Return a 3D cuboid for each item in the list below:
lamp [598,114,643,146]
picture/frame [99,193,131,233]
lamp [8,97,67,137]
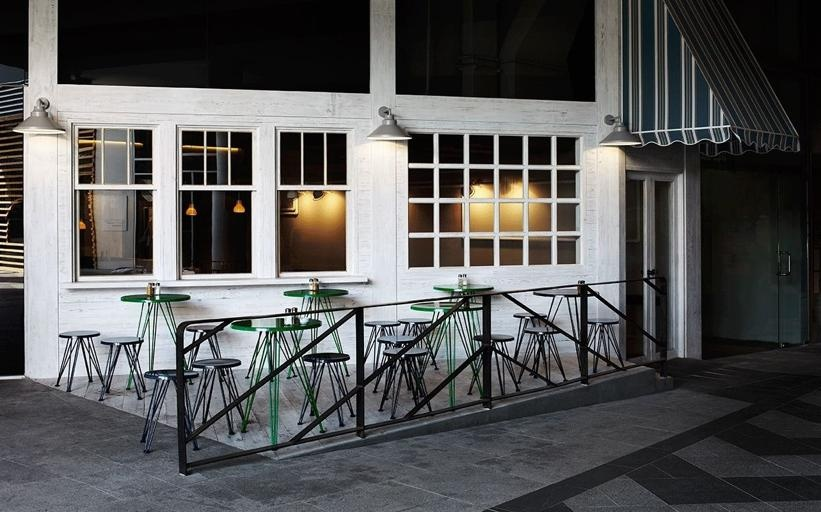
[{"bbox_3d":[2.793,-1.731,9.249,0.478,0.350,0.474,6,20,27],"label":"lamp"},{"bbox_3d":[-3.778,-0.550,8.879,0.397,0.478,0.064,3,6,32],"label":"picture/frame"},{"bbox_3d":[-4.462,-1.676,8.328,0.576,0.366,0.548,1,0,-11],"label":"lamp"}]
